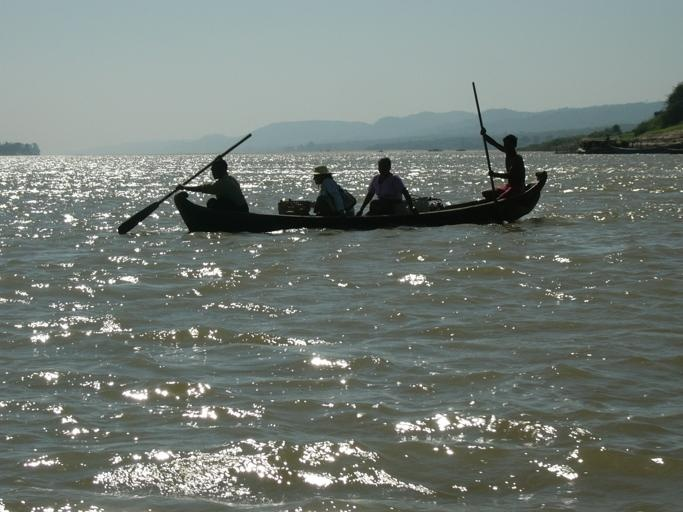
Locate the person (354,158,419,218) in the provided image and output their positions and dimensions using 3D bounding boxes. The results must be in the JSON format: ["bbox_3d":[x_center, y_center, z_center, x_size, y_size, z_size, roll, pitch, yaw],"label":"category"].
[{"bbox_3d":[0.815,-1.274,18.624,0.891,1.030,1.134,-12,7,-21],"label":"person"}]

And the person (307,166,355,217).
[{"bbox_3d":[-0.189,-1.195,18.723,0.783,0.946,0.812,-9,7,0],"label":"person"}]
